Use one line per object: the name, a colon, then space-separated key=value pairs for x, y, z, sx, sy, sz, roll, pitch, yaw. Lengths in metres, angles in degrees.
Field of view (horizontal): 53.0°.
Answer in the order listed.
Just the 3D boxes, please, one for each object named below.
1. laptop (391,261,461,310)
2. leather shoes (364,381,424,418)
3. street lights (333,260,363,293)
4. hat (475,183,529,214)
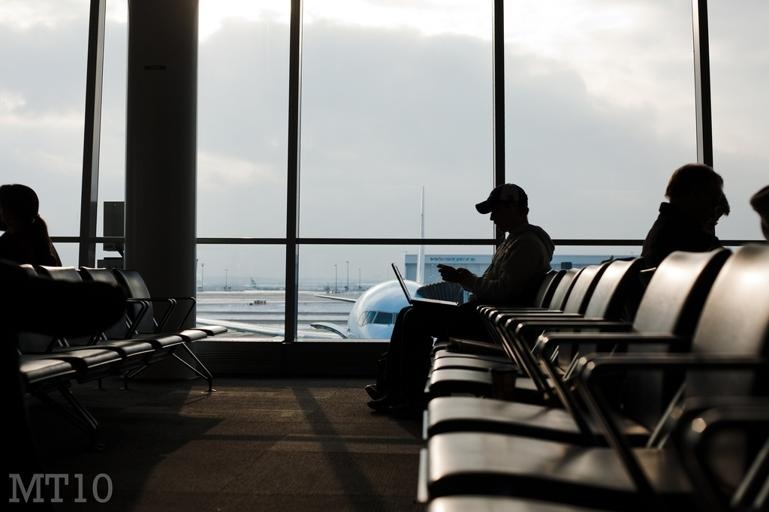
laptop: x=0.306 y=0.235 z=5.904 sx=0.396 sy=0.281 sz=0.377 roll=-4 pitch=-7 yaw=3
leather shoes: x=0.084 y=1.157 z=6.041 sx=0.540 sy=0.230 sz=0.177 roll=-3 pitch=0 yaw=16
street lights: x=-0.369 y=0.201 z=7.725 sx=0.279 sy=0.321 sz=0.089 roll=0 pitch=8 yaw=-2
hat: x=0.910 y=-0.447 z=5.908 sx=0.332 sy=0.185 sz=0.221 roll=1 pitch=3 yaw=12
